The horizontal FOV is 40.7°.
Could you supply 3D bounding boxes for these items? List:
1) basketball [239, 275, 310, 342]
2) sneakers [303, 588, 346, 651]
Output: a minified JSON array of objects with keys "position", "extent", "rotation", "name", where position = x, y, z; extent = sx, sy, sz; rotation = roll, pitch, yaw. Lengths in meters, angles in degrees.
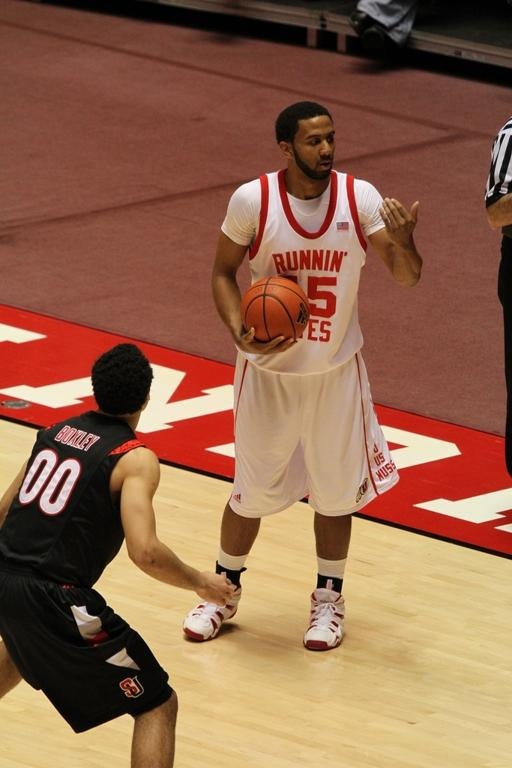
[{"position":[0.043,-0.200,1.910],"extent":[0.188,0.163,0.166],"rotation":[8,21,12],"name":"basketball"},{"position":[0.215,0.777,2.250],"extent":[0.088,0.098,0.232],"rotation":[1,3,7],"name":"sneakers"}]
